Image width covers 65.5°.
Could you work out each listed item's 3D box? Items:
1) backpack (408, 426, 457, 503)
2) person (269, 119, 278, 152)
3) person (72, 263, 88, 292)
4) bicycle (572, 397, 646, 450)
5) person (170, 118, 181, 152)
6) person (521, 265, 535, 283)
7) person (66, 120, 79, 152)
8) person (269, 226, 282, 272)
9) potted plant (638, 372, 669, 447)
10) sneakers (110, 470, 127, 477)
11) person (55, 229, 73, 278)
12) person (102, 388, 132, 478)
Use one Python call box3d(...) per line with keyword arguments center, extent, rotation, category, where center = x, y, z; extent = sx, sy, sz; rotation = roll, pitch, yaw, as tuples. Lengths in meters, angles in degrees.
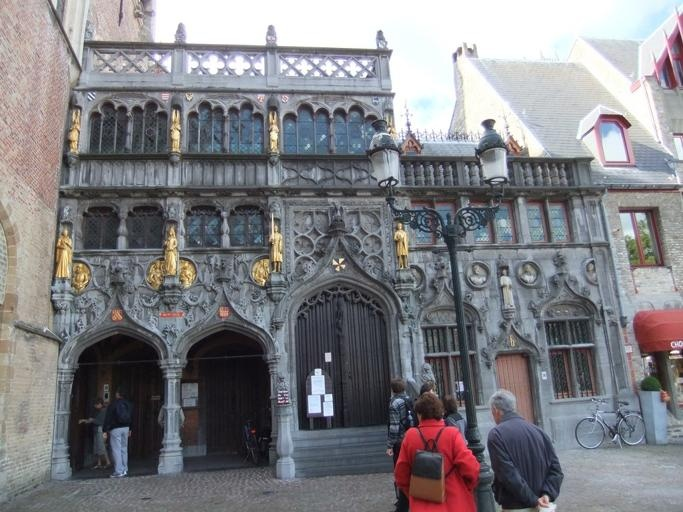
box3d(center=(1.256, 3.035, 7.727), extent=(0.577, 1.019, 0.283), rotation=(-3, -9, 6), category="backpack")
box3d(center=(-2.293, -3.973, 17.981), extent=(0.300, 1.196, 0.292), rotation=(-1, -9, -11), category="person")
box3d(center=(-8.123, 0.641, 16.531), extent=(0.533, 0.932, 0.128), rotation=(-3, -9, 2), category="person")
box3d(center=(8.779, 5.406, 17.406), extent=(2.285, 1.478, 0.680), rotation=(0, -9, -14), category="bicycle")
box3d(center=(-5.526, -3.882, 17.669), extent=(0.345, 1.099, 0.344), rotation=(1, -9, -19), category="person")
box3d(center=(6.518, 0.619, 18.458), extent=(0.568, 0.687, 0.163), rotation=(1, -9, -19), category="person")
box3d(center=(-8.774, -3.794, 17.405), extent=(0.345, 1.045, 0.365), rotation=(3, -11, -31), category="person")
box3d(center=(-2.099, -0.250, 17.100), extent=(0.424, 1.542, 0.332), rotation=(-1, -9, -7), category="person")
box3d(center=(10.184, 4.990, 17.308), extent=(0.751, 2.074, 0.563), rotation=(-7, -10, 26), category="potted plant")
box3d(center=(-6.476, 6.289, 15.416), extent=(0.496, 0.211, 0.174), rotation=(5, -24, -4), category="sneakers")
box3d(center=(-8.535, -0.040, 16.317), extent=(0.460, 1.558, 0.293), rotation=(2, -10, -28), category="person")
box3d(center=(-6.646, 5.168, 15.779), extent=(0.718, 2.456, 1.147), rotation=(1, -10, -24), category="person")
